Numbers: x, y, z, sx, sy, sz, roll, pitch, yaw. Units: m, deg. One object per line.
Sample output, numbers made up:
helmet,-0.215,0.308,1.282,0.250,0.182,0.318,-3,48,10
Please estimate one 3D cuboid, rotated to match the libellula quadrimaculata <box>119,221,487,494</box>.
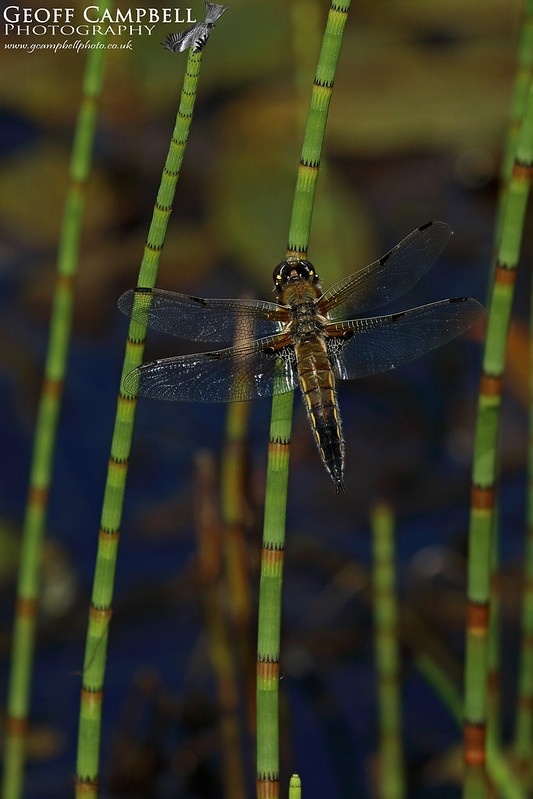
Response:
libellula quadrimaculata,0.078,-0.061,1.255,0.498,0.138,0.308,-12,-67,8
